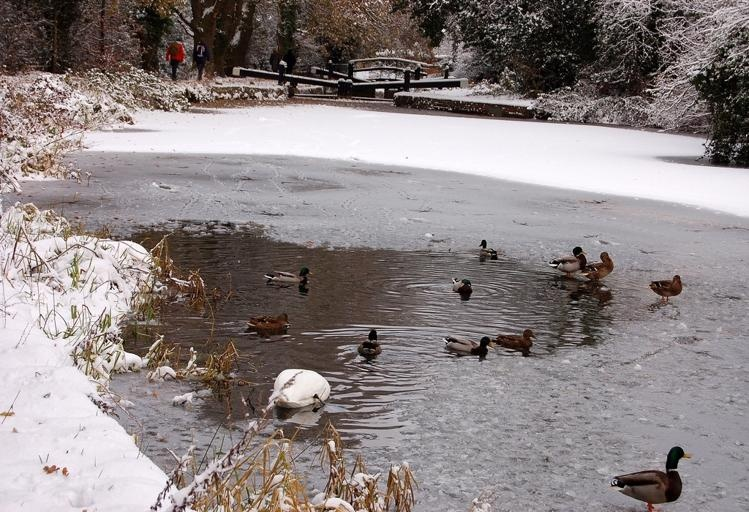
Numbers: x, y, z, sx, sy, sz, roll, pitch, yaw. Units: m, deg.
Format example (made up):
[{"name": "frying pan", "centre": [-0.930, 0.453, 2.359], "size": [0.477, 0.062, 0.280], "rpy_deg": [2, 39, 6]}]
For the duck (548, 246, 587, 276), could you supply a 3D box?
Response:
[{"name": "duck", "centre": [3.577, 0.092, 13.929], "size": [0.821, 0.499, 0.455], "rpy_deg": [0, 4, 6]}]

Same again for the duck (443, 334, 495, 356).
[{"name": "duck", "centre": [1.333, 1.224, 10.299], "size": [0.682, 0.325, 0.247], "rpy_deg": [7, 11, 11]}]

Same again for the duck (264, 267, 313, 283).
[{"name": "duck", "centre": [-1.442, 0.316, 12.696], "size": [0.856, 0.409, 0.275], "rpy_deg": [1, 26, 2]}]

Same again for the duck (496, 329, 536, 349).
[{"name": "duck", "centre": [1.975, 1.194, 10.535], "size": [0.459, 0.222, 0.279], "rpy_deg": [2, 18, 11]}]

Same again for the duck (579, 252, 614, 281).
[{"name": "duck", "centre": [4.121, 0.220, 13.661], "size": [0.457, 0.544, 0.647], "rpy_deg": [9, 15, 16]}]

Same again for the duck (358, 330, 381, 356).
[{"name": "duck", "centre": [-0.021, 1.163, 10.087], "size": [0.266, 0.245, 0.399], "rpy_deg": [7, 19, 13]}]

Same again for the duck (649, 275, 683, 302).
[{"name": "duck", "centre": [4.994, 0.513, 12.720], "size": [0.577, 0.380, 0.430], "rpy_deg": [12, 19, 38]}]

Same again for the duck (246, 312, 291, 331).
[{"name": "duck", "centre": [-1.529, 0.942, 10.630], "size": [0.476, 0.154, 0.251], "rpy_deg": [-2, 3, -6]}]
